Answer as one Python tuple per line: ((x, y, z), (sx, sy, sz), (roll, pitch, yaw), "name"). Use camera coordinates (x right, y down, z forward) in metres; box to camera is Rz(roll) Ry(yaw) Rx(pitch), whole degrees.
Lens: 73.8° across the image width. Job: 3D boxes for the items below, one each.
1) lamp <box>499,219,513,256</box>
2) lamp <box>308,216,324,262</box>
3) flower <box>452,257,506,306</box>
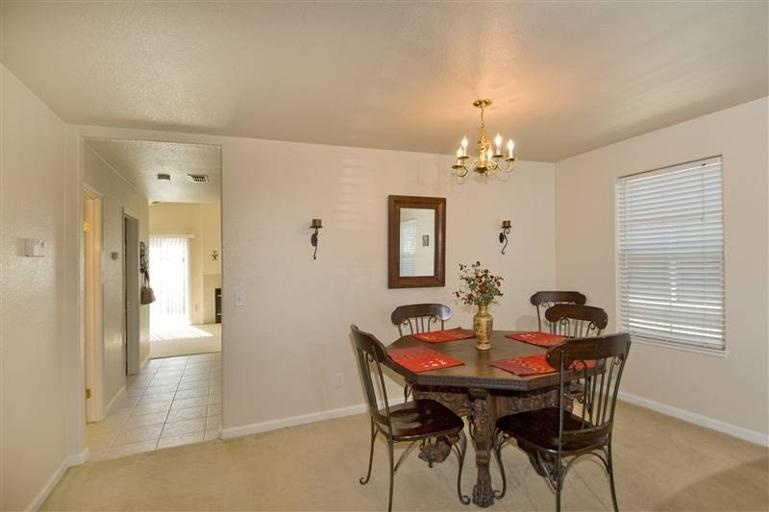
((1.415, -0.216, 5.952), (0.164, 0.390, 0.291), (-1, -1, 14), "lamp")
((-0.695, -0.180, 5.244), (0.135, 0.376, 0.149), (-1, 0, -10), "lamp")
((0.879, 0.290, 4.471), (0.325, 0.357, 0.359), (-4, 1, -5), "flower")
